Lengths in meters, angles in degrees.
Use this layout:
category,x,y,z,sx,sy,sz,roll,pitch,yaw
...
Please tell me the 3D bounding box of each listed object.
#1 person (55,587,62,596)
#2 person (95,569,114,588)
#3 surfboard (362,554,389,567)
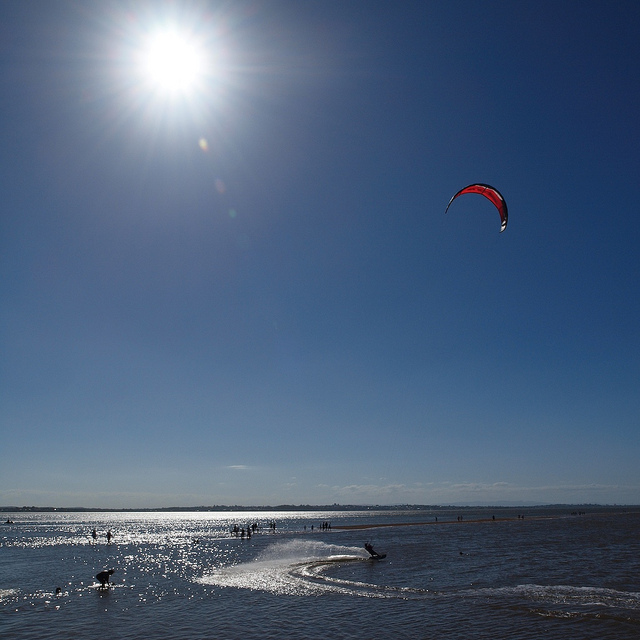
category,x,y,z,sx,sy,sz,roll,pitch,yaw
person,-16.141,16.918,44.101,0.216,0.792,0.310,-3,16,-10
person,-14.112,16.924,46.771,0.837,1.161,2.933,1,-22,-17
surfboard,4.435,18.684,55.582,1.700,0.778,6.156,-10,-21,10
